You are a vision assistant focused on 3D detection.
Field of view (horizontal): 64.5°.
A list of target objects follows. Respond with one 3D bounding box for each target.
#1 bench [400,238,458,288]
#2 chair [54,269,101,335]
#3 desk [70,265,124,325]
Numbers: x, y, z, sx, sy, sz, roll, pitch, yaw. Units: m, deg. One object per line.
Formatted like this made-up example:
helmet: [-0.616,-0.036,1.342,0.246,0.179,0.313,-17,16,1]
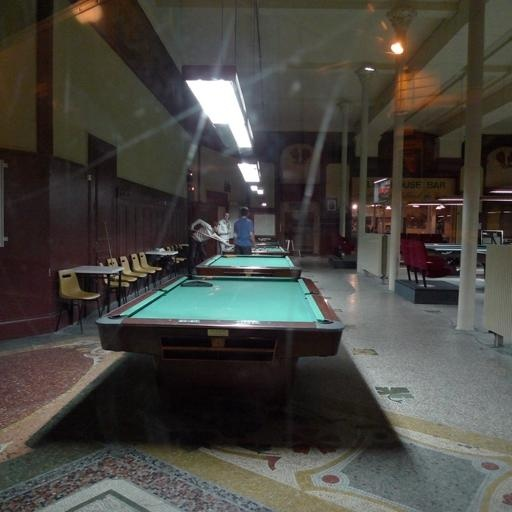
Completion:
bench: [3.111,0.119,7.393,0.540,0.664,1.182,5,0,10]
chair: [-2.161,0.525,4.999,0.455,0.663,0.432,8,11,2]
desk: [-2.081,0.386,5.372,0.489,0.490,0.539,1,10,22]
